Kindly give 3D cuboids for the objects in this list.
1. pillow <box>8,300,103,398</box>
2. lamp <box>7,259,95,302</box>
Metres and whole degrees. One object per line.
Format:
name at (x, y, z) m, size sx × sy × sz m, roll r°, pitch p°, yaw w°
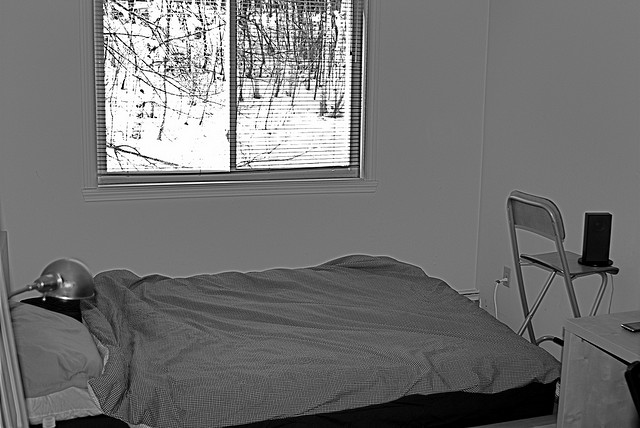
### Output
pillow at (-1.168, 0.577, 2.639) m, size 0.339 × 0.272 × 0.357 m, roll -5°, pitch 3°, yaw -28°
lamp at (-1.039, 0.304, 2.351) m, size 0.153 × 0.128 × 0.311 m, roll 32°, pitch 37°, yaw 32°
